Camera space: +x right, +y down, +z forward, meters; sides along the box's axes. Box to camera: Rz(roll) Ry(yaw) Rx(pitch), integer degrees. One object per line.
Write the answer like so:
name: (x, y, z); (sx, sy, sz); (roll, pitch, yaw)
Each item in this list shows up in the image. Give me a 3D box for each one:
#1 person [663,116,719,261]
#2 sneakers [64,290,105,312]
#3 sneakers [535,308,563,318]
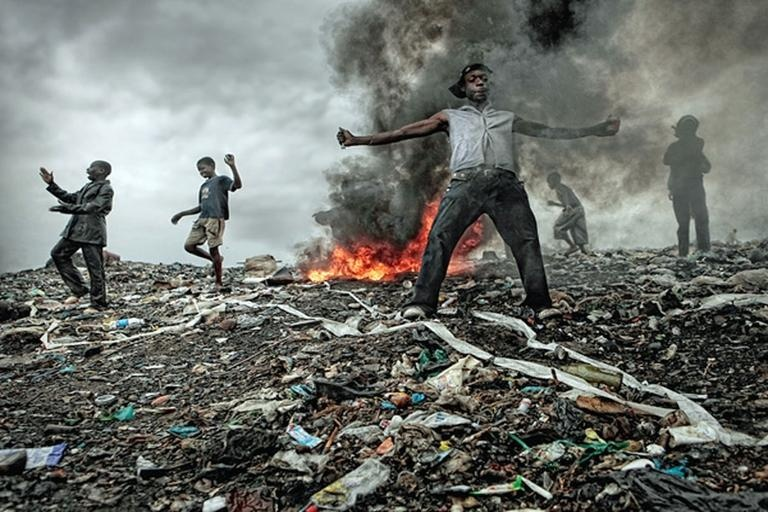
person: (5.096, -1.139, 8.666); (0.650, 1.778, 0.935); (-7, -5, 29)
sneakers: (-4.818, 0.717, 8.285); (0.476, 0.193, 0.153); (21, -15, -14)
sneakers: (1.820, 0.631, 5.745); (0.171, 0.044, 0.124); (-8, 1, 4)
